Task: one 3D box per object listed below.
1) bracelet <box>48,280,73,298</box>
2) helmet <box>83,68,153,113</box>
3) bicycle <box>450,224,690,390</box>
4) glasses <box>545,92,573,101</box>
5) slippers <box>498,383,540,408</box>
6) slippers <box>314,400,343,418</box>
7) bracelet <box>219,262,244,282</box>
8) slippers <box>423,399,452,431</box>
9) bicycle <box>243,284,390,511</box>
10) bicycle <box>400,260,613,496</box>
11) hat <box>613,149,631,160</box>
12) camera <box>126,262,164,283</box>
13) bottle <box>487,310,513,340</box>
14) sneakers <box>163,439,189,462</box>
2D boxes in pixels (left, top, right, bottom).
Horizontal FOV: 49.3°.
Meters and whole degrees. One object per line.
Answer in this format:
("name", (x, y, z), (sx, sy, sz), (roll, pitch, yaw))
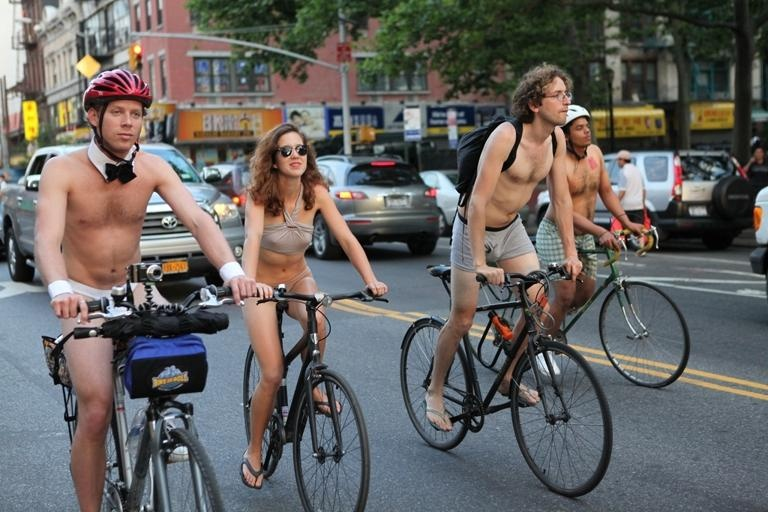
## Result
("bracelet", (-1.940, 0.198, 5.048), (0.098, 0.083, 0.104), (-2, -3, 2))
("helmet", (-1.739, -1.048, 5.376), (0.363, 0.168, 0.263), (-5, 1, 41))
("bicycle", (1.891, 0.660, 8.543), (1.115, 1.512, 2.266), (4, -9, -35))
("glasses", (1.355, -1.238, 6.526), (0.116, 0.038, 0.120), (-5, 6, -44))
("slippers", (0.995, 1.021, 6.226), (0.113, 0.111, 0.291), (16, -1, -31))
("slippers", (-0.384, 1.002, 5.552), (0.166, 0.066, 0.089), (2, 5, 38))
("bracelet", (-0.957, 0.106, 5.313), (0.128, 0.137, 0.123), (-30, -6, -14))
("slippers", (0.423, 1.300, 6.755), (0.120, 0.332, 0.085), (-23, -16, -12))
("bicycle", (-0.573, 0.953, 5.933), (0.639, 1.644, 1.480), (-7, 12, -28))
("bicycle", (0.911, 0.884, 6.346), (0.493, 1.540, 1.814), (-9, 13, -35))
("hat", (4.684, -1.978, 16.596), (0.187, 0.250, 0.252), (0, 21, -3))
("camera", (-1.442, 0.101, 5.095), (0.165, 0.123, 0.119), (0, 0, -38))
("bottle", (0.935, 0.574, 6.817), (0.068, 0.225, 0.222), (-42, -28, 9))
("sneakers", (-1.197, 1.139, 4.892), (0.134, 0.140, 0.110), (-5, 5, 0))
